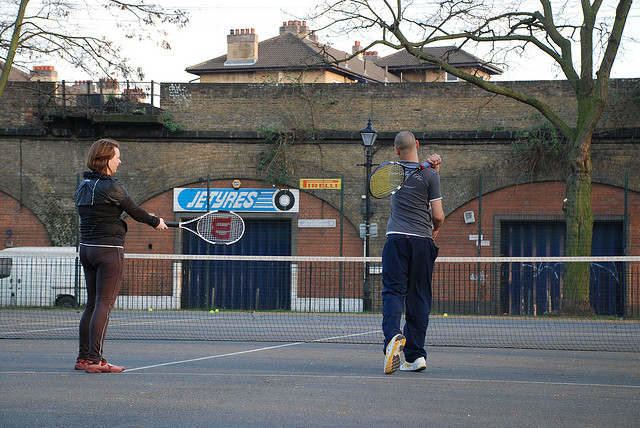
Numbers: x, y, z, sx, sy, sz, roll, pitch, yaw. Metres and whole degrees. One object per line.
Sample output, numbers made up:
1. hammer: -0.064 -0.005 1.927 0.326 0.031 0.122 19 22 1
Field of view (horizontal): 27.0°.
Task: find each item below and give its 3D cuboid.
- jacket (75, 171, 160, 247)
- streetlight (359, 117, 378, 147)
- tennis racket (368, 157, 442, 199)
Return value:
1. jacket: -5.333 -0.108 33.785 1.753 1.882 0.551 2 -6 -10
2. streetlight: 1.653 -2.796 46.538 0.526 0.951 0.924 1 -6 2
3. tennis racket: 2.172 -0.870 34.406 1.786 0.601 0.135 -12 -4 5
